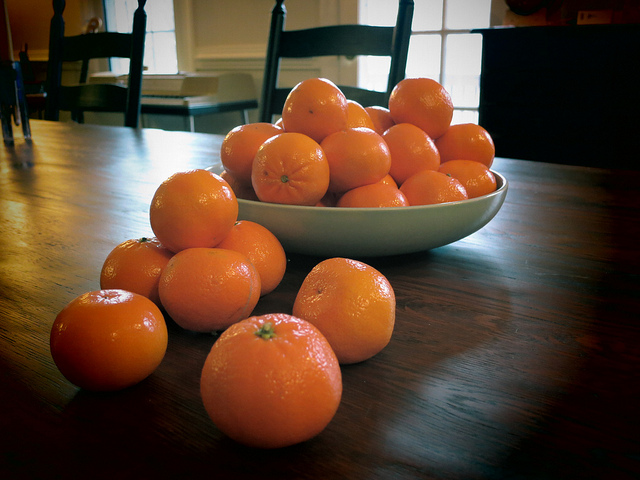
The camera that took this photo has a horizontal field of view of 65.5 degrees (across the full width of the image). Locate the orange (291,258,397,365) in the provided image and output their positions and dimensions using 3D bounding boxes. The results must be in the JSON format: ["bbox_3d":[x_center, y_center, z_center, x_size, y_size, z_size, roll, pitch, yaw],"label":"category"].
[{"bbox_3d":[0.034,0.069,0.511,0.090,0.094,0.071,-5,-30,36],"label":"orange"}]

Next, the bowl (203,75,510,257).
[{"bbox_3d":[0.051,-0.081,0.634,0.307,0.173,0.289,0,13,0],"label":"bowl"}]

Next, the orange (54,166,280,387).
[{"bbox_3d":[-0.142,0.007,0.513,0.153,0.139,0.232,11,19,25],"label":"orange"}]

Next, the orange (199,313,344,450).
[{"bbox_3d":[-0.020,0.101,0.407,0.084,0.089,0.072,-37,62,-27],"label":"orange"}]
